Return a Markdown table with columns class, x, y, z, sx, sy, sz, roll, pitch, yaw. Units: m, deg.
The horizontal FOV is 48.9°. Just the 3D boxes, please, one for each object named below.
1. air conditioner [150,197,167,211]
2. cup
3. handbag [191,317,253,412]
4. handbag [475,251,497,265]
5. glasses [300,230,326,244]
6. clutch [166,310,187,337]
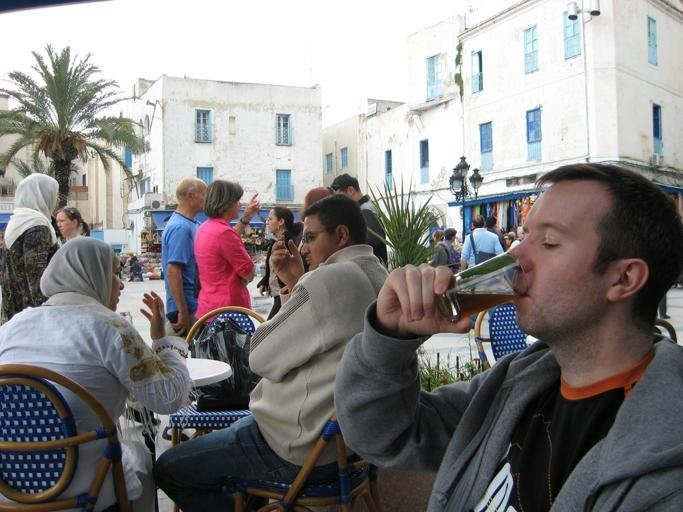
| class | x | y | z | sx | sy | sz | roll | pitch | yaw |
| --- | --- | --- | --- | --- | --- | --- | --- | --- | --- |
| air conditioner | -7.068 | -2.048 | 29.034 | 0.429 | 0.366 | 0.651 | 4 | 1 | -8 |
| cup | 0.439 | 0.099 | 2.403 | 0.259 | 0.222 | 0.139 | -2 | 0 | -22 |
| handbag | -0.669 | 0.653 | 4.498 | 0.405 | 0.604 | 0.282 | 14 | -27 | -37 |
| handbag | 1.438 | 0.005 | 7.586 | 0.164 | 0.144 | 0.141 | -3 | 25 | 6 |
| glasses | -0.148 | -0.105 | 4.006 | 0.086 | 0.106 | 0.031 | 3 | 11 | 26 |
| clutch | -1.243 | 0.512 | 5.694 | 0.161 | 0.202 | 0.146 | 4 | 21 | -29 |
